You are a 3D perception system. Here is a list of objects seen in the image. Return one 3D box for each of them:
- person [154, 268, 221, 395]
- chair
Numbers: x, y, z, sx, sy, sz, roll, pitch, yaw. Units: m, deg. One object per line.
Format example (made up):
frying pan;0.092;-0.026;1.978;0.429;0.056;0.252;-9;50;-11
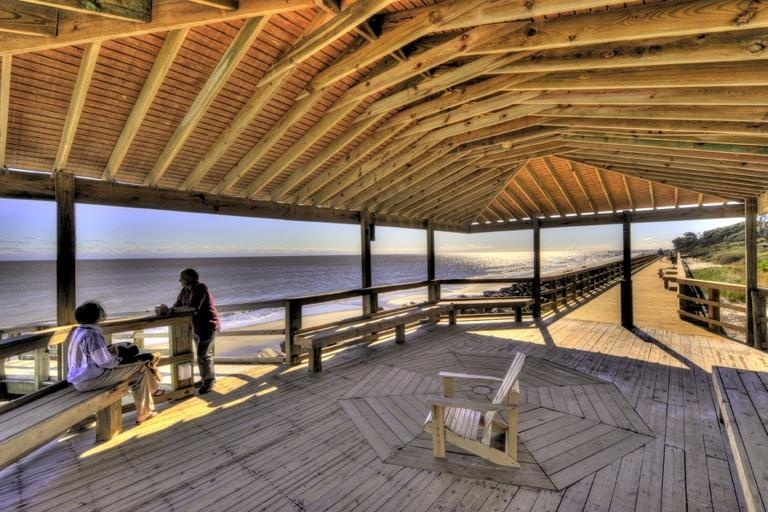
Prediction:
person;-2.826;1.100;6.476;0.692;1.863;0.768;-7;5;-6
chair;1.052;1.777;5.130;1.266;0.790;0.901;1;3;18
